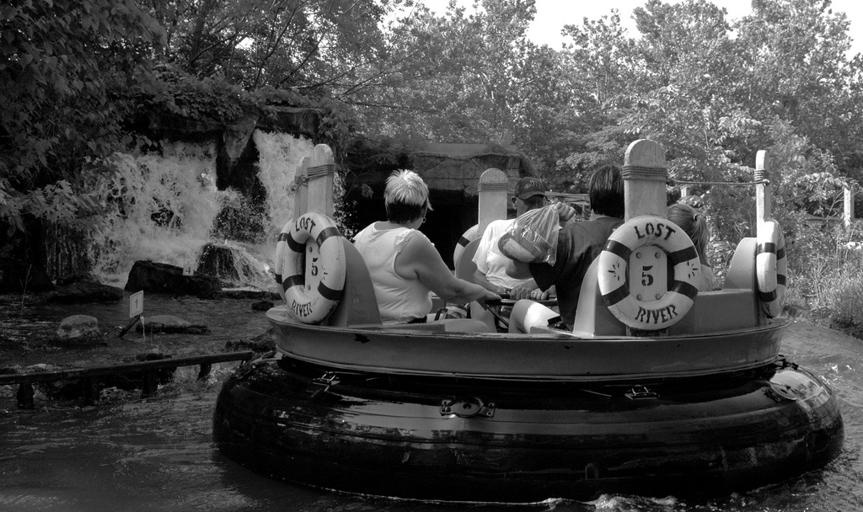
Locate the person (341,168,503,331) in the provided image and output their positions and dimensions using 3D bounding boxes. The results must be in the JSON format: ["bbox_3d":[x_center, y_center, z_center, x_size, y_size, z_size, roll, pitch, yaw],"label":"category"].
[{"bbox_3d":[-0.201,-0.066,8.107,1.142,1.607,1.980,-1,4,-38],"label":"person"}]

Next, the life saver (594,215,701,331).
[{"bbox_3d":[2.033,0.182,6.845,0.975,1.087,0.282,0,1,-6],"label":"life saver"}]

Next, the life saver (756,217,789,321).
[{"bbox_3d":[3.543,0.111,7.683,0.210,0.834,0.827,-2,-18,13],"label":"life saver"}]

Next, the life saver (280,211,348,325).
[{"bbox_3d":[-1.244,0.135,7.485,0.268,1.033,0.934,2,20,-34],"label":"life saver"}]
